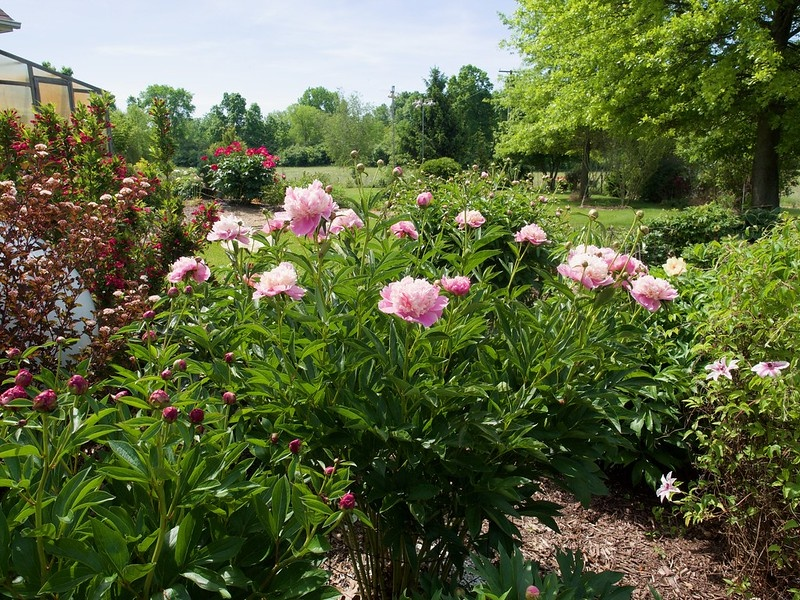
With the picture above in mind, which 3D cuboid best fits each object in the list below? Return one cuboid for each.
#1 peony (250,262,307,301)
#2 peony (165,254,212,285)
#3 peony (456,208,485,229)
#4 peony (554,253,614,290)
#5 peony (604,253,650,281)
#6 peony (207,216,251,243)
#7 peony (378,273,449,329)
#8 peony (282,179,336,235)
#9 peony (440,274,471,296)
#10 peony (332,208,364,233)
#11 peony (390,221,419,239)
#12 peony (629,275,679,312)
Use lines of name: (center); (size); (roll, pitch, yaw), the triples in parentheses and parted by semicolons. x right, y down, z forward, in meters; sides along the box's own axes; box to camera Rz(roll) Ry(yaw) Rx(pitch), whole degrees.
peony: (-0.565, -0.074, 2.909); (0.190, 0.130, 0.187); (-24, 13, -38)
peony: (-1.087, -0.157, 3.171); (0.162, 0.106, 0.167); (-9, 14, -16)
peony: (0.412, -0.479, 3.721); (0.154, 0.099, 0.156); (-20, 37, -24)
peony: (0.915, -0.143, 3.109); (0.211, 0.156, 0.196); (22, 20, 39)
peony: (1.202, -0.160, 3.298); (0.184, 0.110, 0.180); (2, 17, -28)
peony: (-0.929, -0.383, 3.420); (0.177, 0.091, 0.178); (36, 37, 28)
peony: (0.067, 0.014, 2.714); (0.232, 0.149, 0.237); (24, 31, 31)
peony: (-0.423, -0.427, 2.907); (0.180, 0.183, 0.207); (17, 15, 17)
peony: (0.269, -0.072, 2.956); (0.105, 0.075, 0.095); (-13, 15, -23)
peony: (-0.292, -0.436, 3.477); (0.152, 0.100, 0.156); (11, 24, 33)
peony: (0.027, -0.383, 3.445); (0.104, 0.065, 0.106); (6, -3, 44)
peony: (1.333, -0.019, 3.263); (0.204, 0.130, 0.203); (-26, 36, -33)
